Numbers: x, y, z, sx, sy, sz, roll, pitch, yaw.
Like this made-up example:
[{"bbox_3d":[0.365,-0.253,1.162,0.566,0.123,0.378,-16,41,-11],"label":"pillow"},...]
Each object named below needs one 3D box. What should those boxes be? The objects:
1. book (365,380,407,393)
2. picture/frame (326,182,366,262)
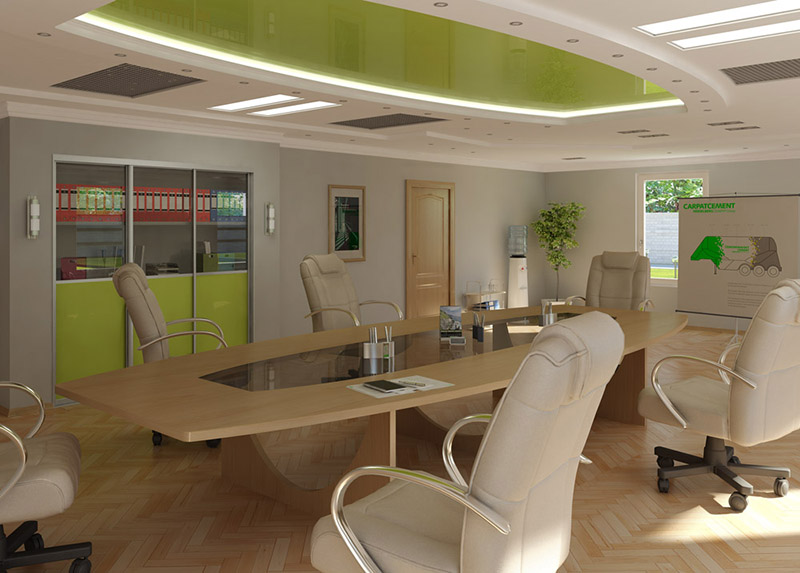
[{"bbox_3d":[-0.080,0.514,2.873,0.242,0.032,0.319,3,-3,-26],"label":"book"},{"bbox_3d":[-0.801,-0.951,8.445,0.136,1.159,0.718,6,10,40],"label":"picture/frame"}]
